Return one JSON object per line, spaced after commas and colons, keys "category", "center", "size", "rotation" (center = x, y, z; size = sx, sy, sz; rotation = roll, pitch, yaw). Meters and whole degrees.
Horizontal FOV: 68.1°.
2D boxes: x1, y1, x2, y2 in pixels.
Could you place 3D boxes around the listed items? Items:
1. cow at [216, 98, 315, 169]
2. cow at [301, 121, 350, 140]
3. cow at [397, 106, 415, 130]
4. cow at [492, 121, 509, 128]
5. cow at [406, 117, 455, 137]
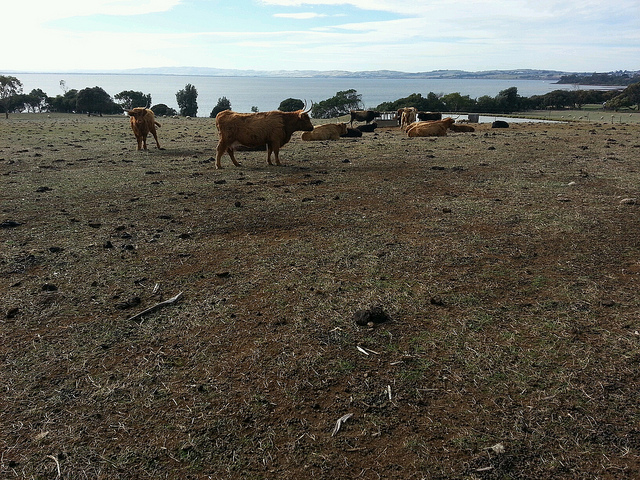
{"category": "cow", "center": [-1.957, -3.329, 15.333], "size": [3.166, 1.813, 1.009], "rotation": [-15, 24, -25]}
{"category": "cow", "center": [0.295, -5.708, 25.214], "size": [2.394, 1.187, 0.950], "rotation": [-14, 36, -18]}
{"category": "cow", "center": [5.925, -8.588, 32.834], "size": [0.873, 1.078, 1.993], "rotation": [3, 27, 9]}
{"category": "cow", "center": [10.989, -7.013, 28.796], "size": [0.549, 0.294, 0.835], "rotation": [4, 15, 30]}
{"category": "cow", "center": [5.691, -5.836, 24.609], "size": [2.679, 1.016, 0.948], "rotation": [-12, 39, -11]}
